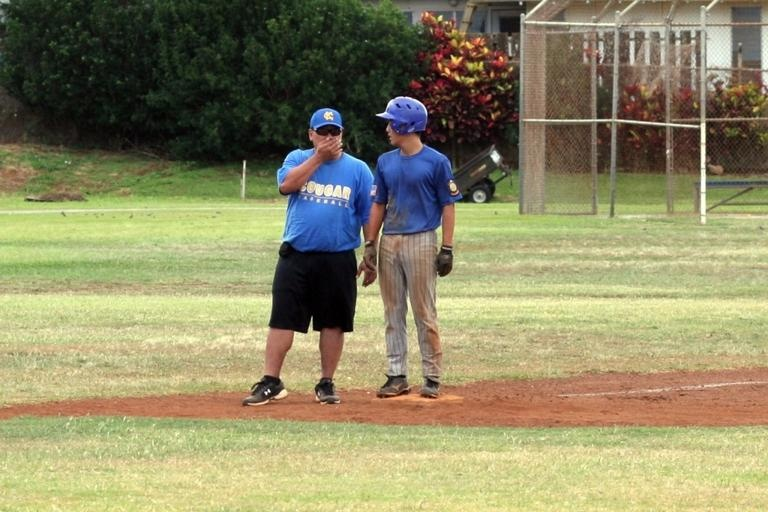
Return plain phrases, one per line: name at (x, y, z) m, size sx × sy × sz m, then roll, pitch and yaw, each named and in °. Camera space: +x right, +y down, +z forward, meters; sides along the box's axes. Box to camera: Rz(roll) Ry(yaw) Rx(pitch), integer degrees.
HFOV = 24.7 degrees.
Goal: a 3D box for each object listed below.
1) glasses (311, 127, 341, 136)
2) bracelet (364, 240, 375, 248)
glasses at (-1.230, -2.568, 36.266) m, size 0.549 × 0.201 × 0.069 m, roll 1°, pitch 3°, yaw 6°
bracelet at (-0.349, -0.247, 36.549) m, size 0.170 × 0.146 × 0.145 m, roll 12°, pitch -30°, yaw -20°
